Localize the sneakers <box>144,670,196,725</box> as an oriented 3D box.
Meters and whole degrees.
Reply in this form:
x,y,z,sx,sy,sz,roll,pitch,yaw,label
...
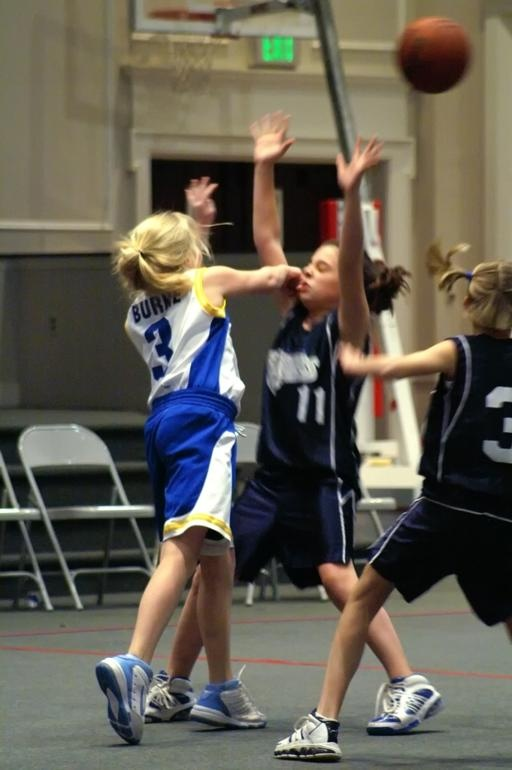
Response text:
x,y,z,sx,sy,sz,roll,pitch,yaw,label
-0.217,0.705,2.438,0.179,0.105,0.055,7,-18,-35,sneakers

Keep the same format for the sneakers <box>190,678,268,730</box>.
x,y,z,sx,sy,sz,roll,pitch,yaw,label
-0.045,0.694,2.374,0.076,0.103,0.206,-2,-19,45,sneakers

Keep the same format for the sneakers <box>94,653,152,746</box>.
x,y,z,sx,sy,sz,roll,pitch,yaw,label
-0.233,0.587,1.986,0.064,0.202,0.115,6,11,30,sneakers

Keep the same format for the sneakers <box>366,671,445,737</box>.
x,y,z,sx,sy,sz,roll,pitch,yaw,label
0.302,0.665,2.273,0.186,0.099,0.087,-14,-3,-33,sneakers

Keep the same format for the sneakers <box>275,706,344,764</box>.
x,y,z,sx,sy,sz,roll,pitch,yaw,label
0.098,0.628,1.967,0.141,0.087,0.061,-9,-24,40,sneakers

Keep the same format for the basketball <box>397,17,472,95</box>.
x,y,z,sx,sy,sz,roll,pitch,yaw,label
0.525,-0.990,3.256,0.220,0.220,0.152,2,9,7,basketball
